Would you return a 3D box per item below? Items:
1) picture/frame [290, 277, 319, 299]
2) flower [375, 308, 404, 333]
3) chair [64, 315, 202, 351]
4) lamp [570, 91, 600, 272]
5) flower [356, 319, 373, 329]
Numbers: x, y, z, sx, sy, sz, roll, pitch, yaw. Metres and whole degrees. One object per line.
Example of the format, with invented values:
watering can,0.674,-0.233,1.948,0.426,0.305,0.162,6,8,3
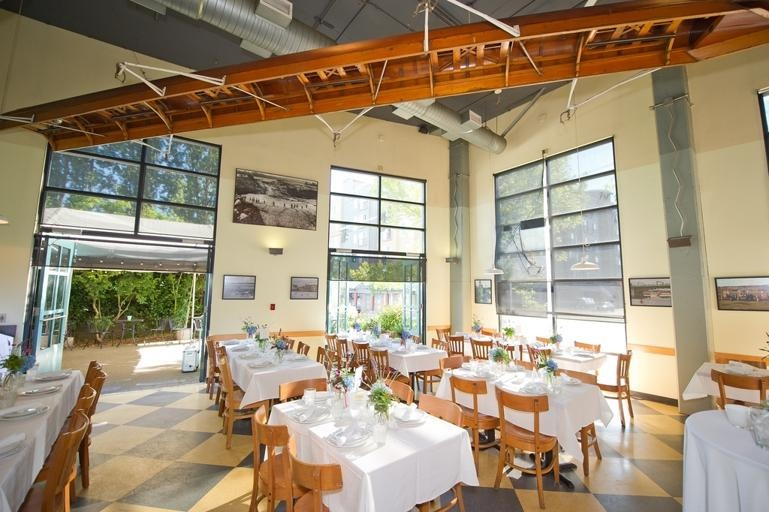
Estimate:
picture/frame,-2.040,0.779,11.434,0.554,0.452,0.037,-2,1,-26
flower,0.253,1.686,12.177,0.705,0.734,0.604,5,-8,-29
chair,-8.292,2.357,14.864,3.350,0.868,0.718,3,-7,-35
lamp,4.335,-1.658,10.190,0.566,3.890,1.618,-4,-6,23
flower,-0.456,1.731,11.888,0.322,0.185,0.332,-3,-6,26
